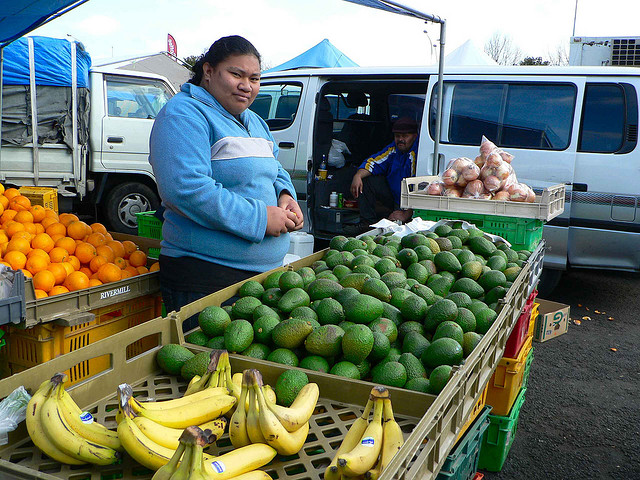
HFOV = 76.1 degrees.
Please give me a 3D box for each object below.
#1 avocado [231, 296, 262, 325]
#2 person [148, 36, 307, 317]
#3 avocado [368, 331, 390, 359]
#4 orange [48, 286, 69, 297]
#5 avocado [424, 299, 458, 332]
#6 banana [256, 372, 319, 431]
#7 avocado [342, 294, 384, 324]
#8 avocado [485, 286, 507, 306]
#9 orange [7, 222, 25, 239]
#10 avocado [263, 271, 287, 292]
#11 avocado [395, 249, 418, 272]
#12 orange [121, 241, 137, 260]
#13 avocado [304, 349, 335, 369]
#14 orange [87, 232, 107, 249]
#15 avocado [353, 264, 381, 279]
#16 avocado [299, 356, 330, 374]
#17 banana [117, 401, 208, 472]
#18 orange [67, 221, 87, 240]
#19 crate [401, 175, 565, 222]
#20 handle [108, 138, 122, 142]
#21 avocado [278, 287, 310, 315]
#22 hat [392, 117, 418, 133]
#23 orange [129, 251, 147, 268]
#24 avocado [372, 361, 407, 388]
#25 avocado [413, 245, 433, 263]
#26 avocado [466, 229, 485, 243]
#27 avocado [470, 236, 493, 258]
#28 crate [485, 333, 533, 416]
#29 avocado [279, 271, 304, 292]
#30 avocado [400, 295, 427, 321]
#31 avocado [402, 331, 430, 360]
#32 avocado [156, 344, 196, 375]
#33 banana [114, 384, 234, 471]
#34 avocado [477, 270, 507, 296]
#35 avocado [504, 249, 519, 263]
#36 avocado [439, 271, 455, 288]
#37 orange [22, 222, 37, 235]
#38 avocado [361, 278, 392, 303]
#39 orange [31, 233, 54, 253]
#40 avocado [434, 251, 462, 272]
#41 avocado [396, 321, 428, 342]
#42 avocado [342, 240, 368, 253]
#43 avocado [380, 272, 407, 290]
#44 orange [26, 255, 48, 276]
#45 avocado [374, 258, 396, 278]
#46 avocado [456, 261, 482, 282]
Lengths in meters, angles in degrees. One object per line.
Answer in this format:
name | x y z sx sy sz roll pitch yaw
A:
avocado | -0.345 0.317 1.923 0.127 0.100 0.095 13 2 -2
person | -0.575 -0.369 2.553 0.872 1.643 0.479 -7 14 -28
avocado | 0.232 0.429 1.717 0.090 0.113 0.095 -5 -30 0
orange | -1.691 0.322 2.639 0.079 0.078 0.080 -12 -33 2
avocado | 0.545 0.336 1.922 0.095 0.168 0.106 32 36 -24
banana | -0.064 0.466 1.204 0.092 0.207 0.300 -4 -27 17
avocado | 0.192 0.308 1.895 0.200 0.119 0.149 -4 22 -22
avocado | 0.942 0.291 2.177 0.058 0.065 0.114 15 -27 6
orange | -2.267 -0.076 3.043 0.100 0.117 0.097 -4 -9 -33
avocado | -0.257 0.222 2.193 0.076 0.076 0.126 3 0 1
avocado | 0.558 0.115 2.625 0.130 0.105 0.101 -23 8 32
orange | -1.514 0.080 3.216 0.093 0.096 0.088 30 5 -4
avocado | -0.005 0.465 1.697 0.069 0.073 0.089 -21 15 -33
orange | -1.730 -0.003 3.205 0.126 0.125 0.142 -27 16 -39
avocado | 0.260 0.162 2.254 0.121 0.069 0.070 19 1 30
avocado | -0.023 0.474 1.608 0.068 0.091 0.074 -14 -19 37
banana | -0.433 0.511 1.151 0.228 0.158 0.191 2 9 -12
orange | -1.910 -0.070 3.221 0.126 0.151 0.138 -5 -8 25
crate | 1.554 -0.404 3.857 1.714 0.437 1.059 9 12 37
handle | -3.624 -1.742 7.200 0.221 0.053 0.023 -9 15 -33
avocado | -0.129 0.309 2.010 0.133 0.101 0.080 -25 -22 -17
hat | 1.362 -1.793 6.445 0.350 0.222 0.490 3 19 7
orange | -1.415 0.145 3.165 0.105 0.114 0.109 9 -4 -28
avocado | 0.266 0.493 1.529 0.078 0.068 0.107 4 2 6
avocado | 0.671 0.078 2.654 0.094 0.113 0.093 -3 11 3
avocado | 1.175 -0.038 3.082 0.124 0.080 0.095 -1 -2 12
avocado | 1.134 0.042 2.861 0.086 0.091 0.150 0 29 1
crate | 1.323 0.911 2.881 0.342 0.363 0.538 2 4 32
avocado | -0.149 0.204 2.156 0.096 0.102 0.121 4 -18 30
avocado | 0.457 0.324 2.017 0.113 0.105 0.130 -37 -27 -11
avocado | 0.412 0.439 1.761 0.081 0.063 0.107 1 43 -1
avocado | -0.552 0.436 1.533 0.145 0.092 0.088 8 -16 15
banana | -0.430 0.505 1.178 0.253 0.156 0.164 21 61 37
avocado | 0.990 0.219 2.385 0.149 0.119 0.114 -28 9 5
avocado | 1.330 0.096 2.823 0.080 0.045 0.080 3 31 -15
avocado | 0.773 0.223 2.479 0.069 0.087 0.073 0 -12 9
orange | -2.227 -0.093 3.131 0.078 0.080 0.093 -1 4 -25
avocado | 0.284 0.236 2.055 0.130 0.096 0.100 30 30 22
orange | -2.014 0.009 2.984 0.134 0.150 0.121 -19 -8 -44
avocado | 0.798 0.125 2.540 0.137 0.105 0.082 30 13 18
avocado | 0.429 0.423 1.886 0.114 0.089 0.084 -5 -26 9
avocado | 0.234 0.029 2.691 0.125 0.077 0.077 -3 8 -5
avocado | 0.403 0.209 2.186 0.109 0.087 0.083 0 1 15
orange | -1.917 0.156 2.752 0.131 0.136 0.122 13 -1 4
avocado | 0.381 0.160 2.372 0.106 0.084 0.079 -6 2 -22
avocado | 0.928 0.183 2.503 0.094 0.083 0.131 2 9 -2
